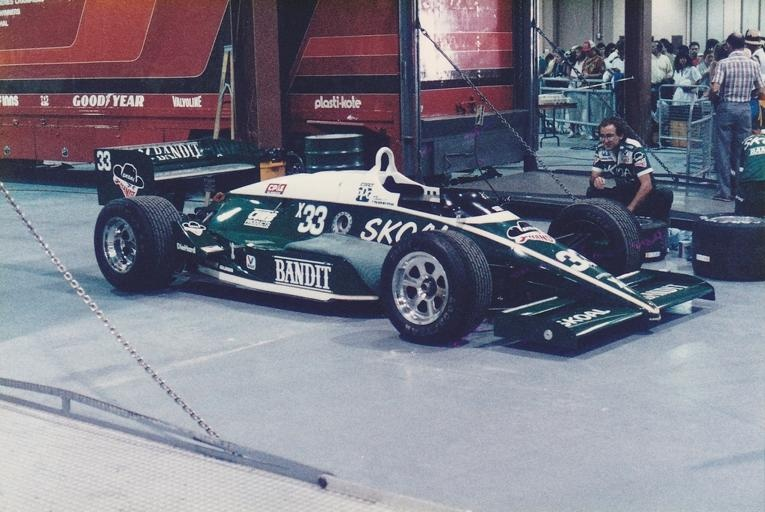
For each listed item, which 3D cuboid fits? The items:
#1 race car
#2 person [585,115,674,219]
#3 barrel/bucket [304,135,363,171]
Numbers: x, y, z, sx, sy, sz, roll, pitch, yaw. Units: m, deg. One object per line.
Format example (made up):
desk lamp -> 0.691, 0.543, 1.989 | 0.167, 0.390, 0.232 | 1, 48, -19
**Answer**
race car -> 0.214, -0.539, 9.368 | 6.817, 1.737, 4.644 | 3, 13, 30
person -> 2.765, -0.890, 9.382 | 0.969, 1.280, 0.726 | -1, 6, -1
barrel/bucket -> -0.753, -1.516, 12.127 | 0.671, 0.617, 0.676 | -1, 3, 0
